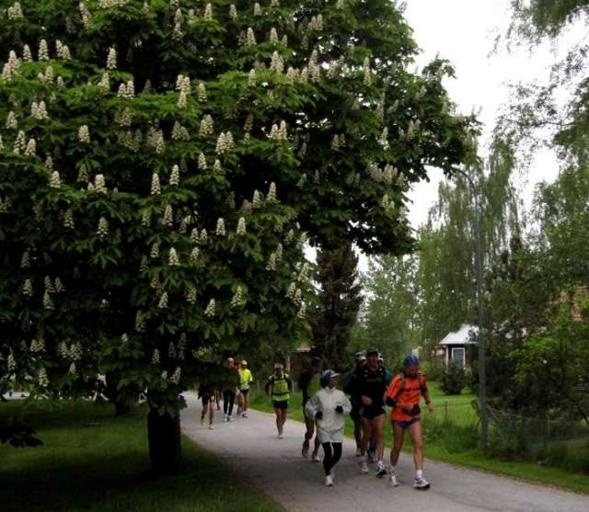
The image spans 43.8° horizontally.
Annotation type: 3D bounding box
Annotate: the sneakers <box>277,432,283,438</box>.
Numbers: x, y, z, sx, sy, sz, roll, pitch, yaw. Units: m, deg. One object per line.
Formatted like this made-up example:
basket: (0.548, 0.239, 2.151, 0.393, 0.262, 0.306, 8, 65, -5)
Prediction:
sneakers: (-0.373, 4.997, 20.387, 0.097, 0.154, 0.351, 1, -27, -3)

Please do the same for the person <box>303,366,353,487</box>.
person: (0.622, 3.120, 13.415, 0.753, 2.042, 0.570, 4, -7, 13)

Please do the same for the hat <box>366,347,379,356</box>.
hat: (1.547, 1.861, 14.322, 0.226, 0.167, 0.589, 6, -9, 6)

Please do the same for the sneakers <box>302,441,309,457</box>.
sneakers: (0.277, 4.353, 16.413, 0.126, 0.425, 0.156, -1, 5, -12)

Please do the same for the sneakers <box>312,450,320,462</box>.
sneakers: (0.495, 4.452, 16.330, 0.153, 0.195, 0.455, -2, -21, 1)

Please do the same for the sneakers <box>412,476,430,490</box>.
sneakers: (2.227, 3.942, 12.744, 0.265, 0.218, 0.260, 4, -9, 18)

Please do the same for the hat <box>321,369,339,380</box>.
hat: (0.680, 2.239, 13.662, 0.270, 0.120, 0.204, -15, -2, 19)
